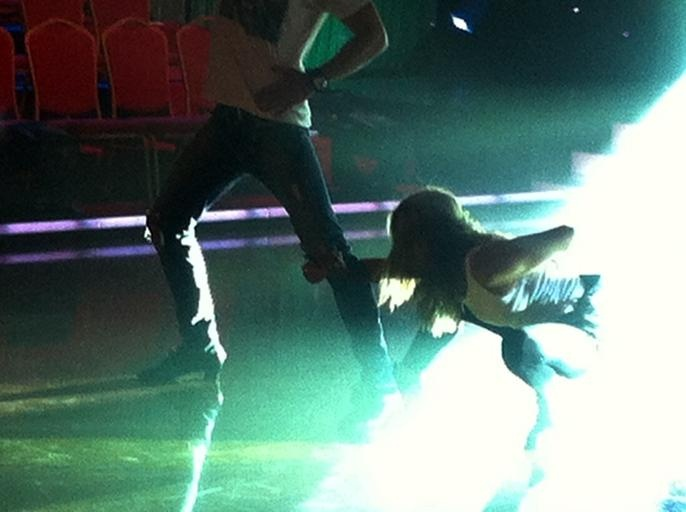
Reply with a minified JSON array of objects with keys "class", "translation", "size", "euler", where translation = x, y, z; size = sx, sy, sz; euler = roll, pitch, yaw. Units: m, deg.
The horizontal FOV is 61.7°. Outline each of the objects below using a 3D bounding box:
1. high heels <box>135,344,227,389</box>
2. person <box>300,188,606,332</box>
[{"class":"high heels","translation":[-0.496,0.324,1.754],"size":[0.195,0.081,0.147],"euler":[-5,-1,27]},{"class":"person","translation":[0.352,0.027,1.736],"size":[0.818,0.339,0.462],"euler":[12,-10,14]}]
